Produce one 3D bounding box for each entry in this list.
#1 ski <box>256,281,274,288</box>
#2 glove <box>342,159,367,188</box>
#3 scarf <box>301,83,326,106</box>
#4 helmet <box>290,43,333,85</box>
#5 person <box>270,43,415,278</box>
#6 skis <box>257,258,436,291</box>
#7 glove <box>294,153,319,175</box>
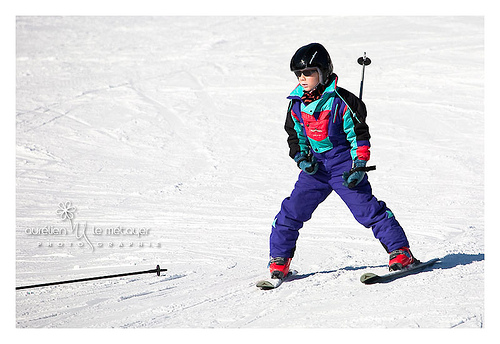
[{"bbox_3d":[0.184,1.444,7.827,0.222,0.072,0.072,1,-1,4],"label":"ski"},{"bbox_3d":[1.269,0.029,7.459,0.148,0.357,0.260,37,18,-23],"label":"glove"},{"bbox_3d":[0.759,-0.945,7.454,0.306,0.203,0.214,3,8,-19],"label":"scarf"},{"bbox_3d":[0.768,-1.358,7.578,0.569,0.446,0.526,-7,19,6],"label":"helmet"},{"bbox_3d":[1.044,-0.106,7.599,1.605,2.950,0.482,0,11,1],"label":"person"},{"bbox_3d":[1.283,1.346,7.930,2.007,0.127,0.195,-8,-8,1],"label":"skis"},{"bbox_3d":[0.709,-0.105,7.688,0.227,0.285,0.140,-41,-4,-6],"label":"glove"}]
